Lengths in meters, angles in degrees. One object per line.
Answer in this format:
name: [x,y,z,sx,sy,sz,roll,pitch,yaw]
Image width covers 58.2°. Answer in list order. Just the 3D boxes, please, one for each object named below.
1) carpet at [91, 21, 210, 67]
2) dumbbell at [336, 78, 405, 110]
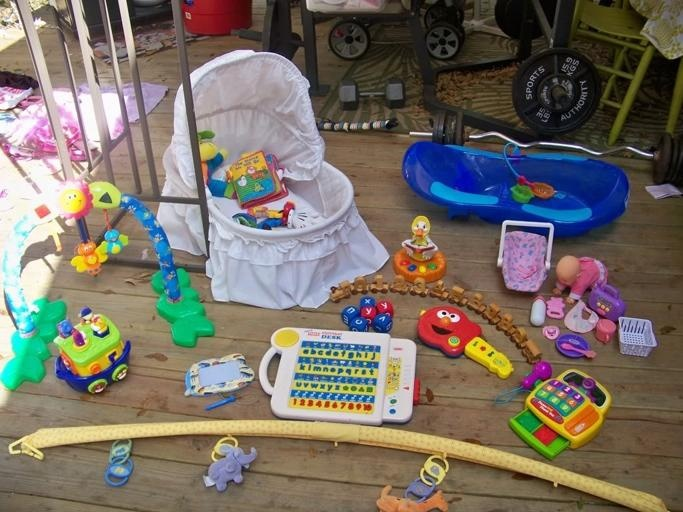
carpet: [-1.578,-1.710,4.924,0.861,0.104,0.537,-28,43,-34]
dumbbell: [0.193,-1.044,3.985,0.395,0.180,0.191,-3,54,1]
